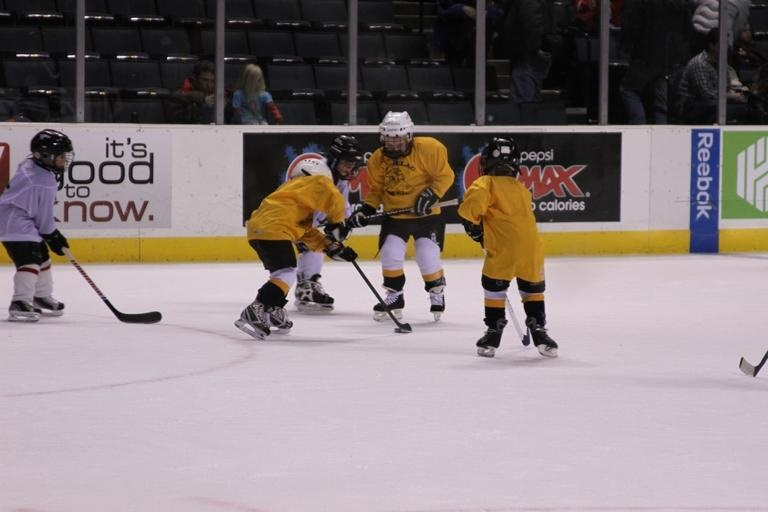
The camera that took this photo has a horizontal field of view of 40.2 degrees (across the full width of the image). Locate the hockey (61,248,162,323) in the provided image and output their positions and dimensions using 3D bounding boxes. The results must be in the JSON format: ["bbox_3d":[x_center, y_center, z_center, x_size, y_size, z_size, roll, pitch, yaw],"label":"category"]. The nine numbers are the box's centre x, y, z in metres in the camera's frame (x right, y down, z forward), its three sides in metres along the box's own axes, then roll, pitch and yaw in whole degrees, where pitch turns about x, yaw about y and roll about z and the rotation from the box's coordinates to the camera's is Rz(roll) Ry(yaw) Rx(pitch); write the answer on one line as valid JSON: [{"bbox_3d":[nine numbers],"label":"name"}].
[{"bbox_3d":[-1.938,0.189,7.421,0.471,0.469,0.989,-10,18,-35],"label":"hockey"}]

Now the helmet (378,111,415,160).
[{"bbox_3d":[0.173,-0.884,7.675,0.281,0.326,0.330,1,36,7],"label":"helmet"}]

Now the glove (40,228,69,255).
[{"bbox_3d":[-2.304,-0.100,7.427,0.137,0.227,0.097,-40,2,0],"label":"glove"}]

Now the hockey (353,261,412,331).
[{"bbox_3d":[-0.011,0.312,7.881,0.084,0.555,0.117,-40,-9,-25],"label":"hockey"}]

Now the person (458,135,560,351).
[{"bbox_3d":[0.798,-0.046,6.664,0.637,1.337,0.570,1,15,3],"label":"person"}]

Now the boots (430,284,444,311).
[{"bbox_3d":[0.385,0.294,7.626,0.109,0.173,0.238,0,14,0],"label":"boots"}]

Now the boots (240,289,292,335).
[{"bbox_3d":[-0.830,0.409,7.045,0.471,0.294,0.159,8,7,-43],"label":"boots"}]

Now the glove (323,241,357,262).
[{"bbox_3d":[-0.299,-0.047,7.340,0.214,0.086,0.125,17,-15,13],"label":"glove"}]

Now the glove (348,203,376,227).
[{"bbox_3d":[-0.173,-0.301,7.781,0.215,0.073,0.151,-28,29,15],"label":"glove"}]

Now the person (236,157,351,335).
[{"bbox_3d":[-0.727,-0.073,7.180,0.498,1.103,0.857,14,20,42],"label":"person"}]

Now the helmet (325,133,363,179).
[{"bbox_3d":[-0.304,-0.739,7.729,0.341,0.287,0.261,4,18,29],"label":"helmet"}]

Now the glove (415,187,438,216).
[{"bbox_3d":[0.302,-0.395,7.681,0.209,0.080,0.158,-20,34,15],"label":"glove"}]

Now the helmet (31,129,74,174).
[{"bbox_3d":[-2.328,-0.764,7.528,0.338,0.318,0.280,-4,11,-11],"label":"helmet"}]
